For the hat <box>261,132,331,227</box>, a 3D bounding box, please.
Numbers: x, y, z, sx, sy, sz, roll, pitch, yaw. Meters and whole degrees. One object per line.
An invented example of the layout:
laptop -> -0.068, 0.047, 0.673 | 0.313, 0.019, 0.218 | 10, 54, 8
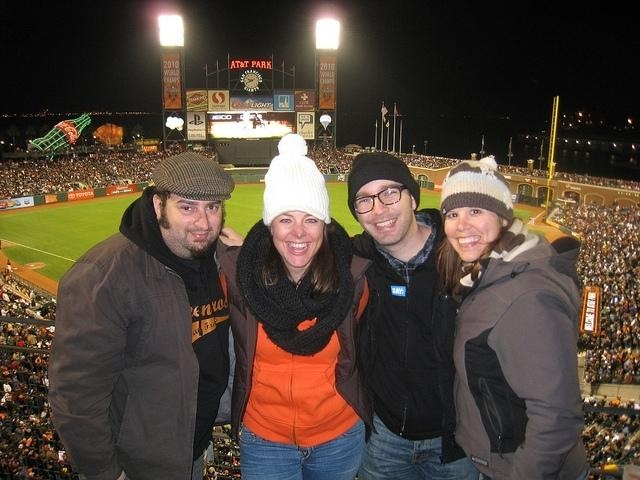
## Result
hat -> -0.275, -0.516, 4.389 | 0.575, 0.680, 0.858 | -5, 40, -5

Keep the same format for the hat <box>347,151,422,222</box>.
hat -> 0.562, -0.566, 4.420 | 0.610, 0.518, 0.629 | -4, -17, -10
